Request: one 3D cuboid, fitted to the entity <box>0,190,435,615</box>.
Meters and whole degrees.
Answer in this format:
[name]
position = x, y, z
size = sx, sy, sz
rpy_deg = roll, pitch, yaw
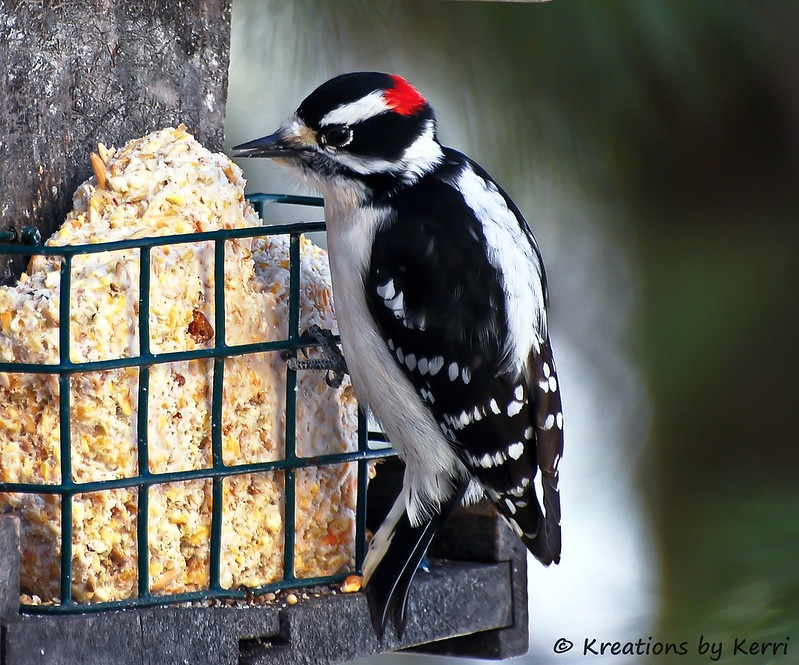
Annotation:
[entity]
position = -0.403, 0.140, 3.088
size = 0.788, 0.754, 0.340
rpy_deg = -2, 7, -39
